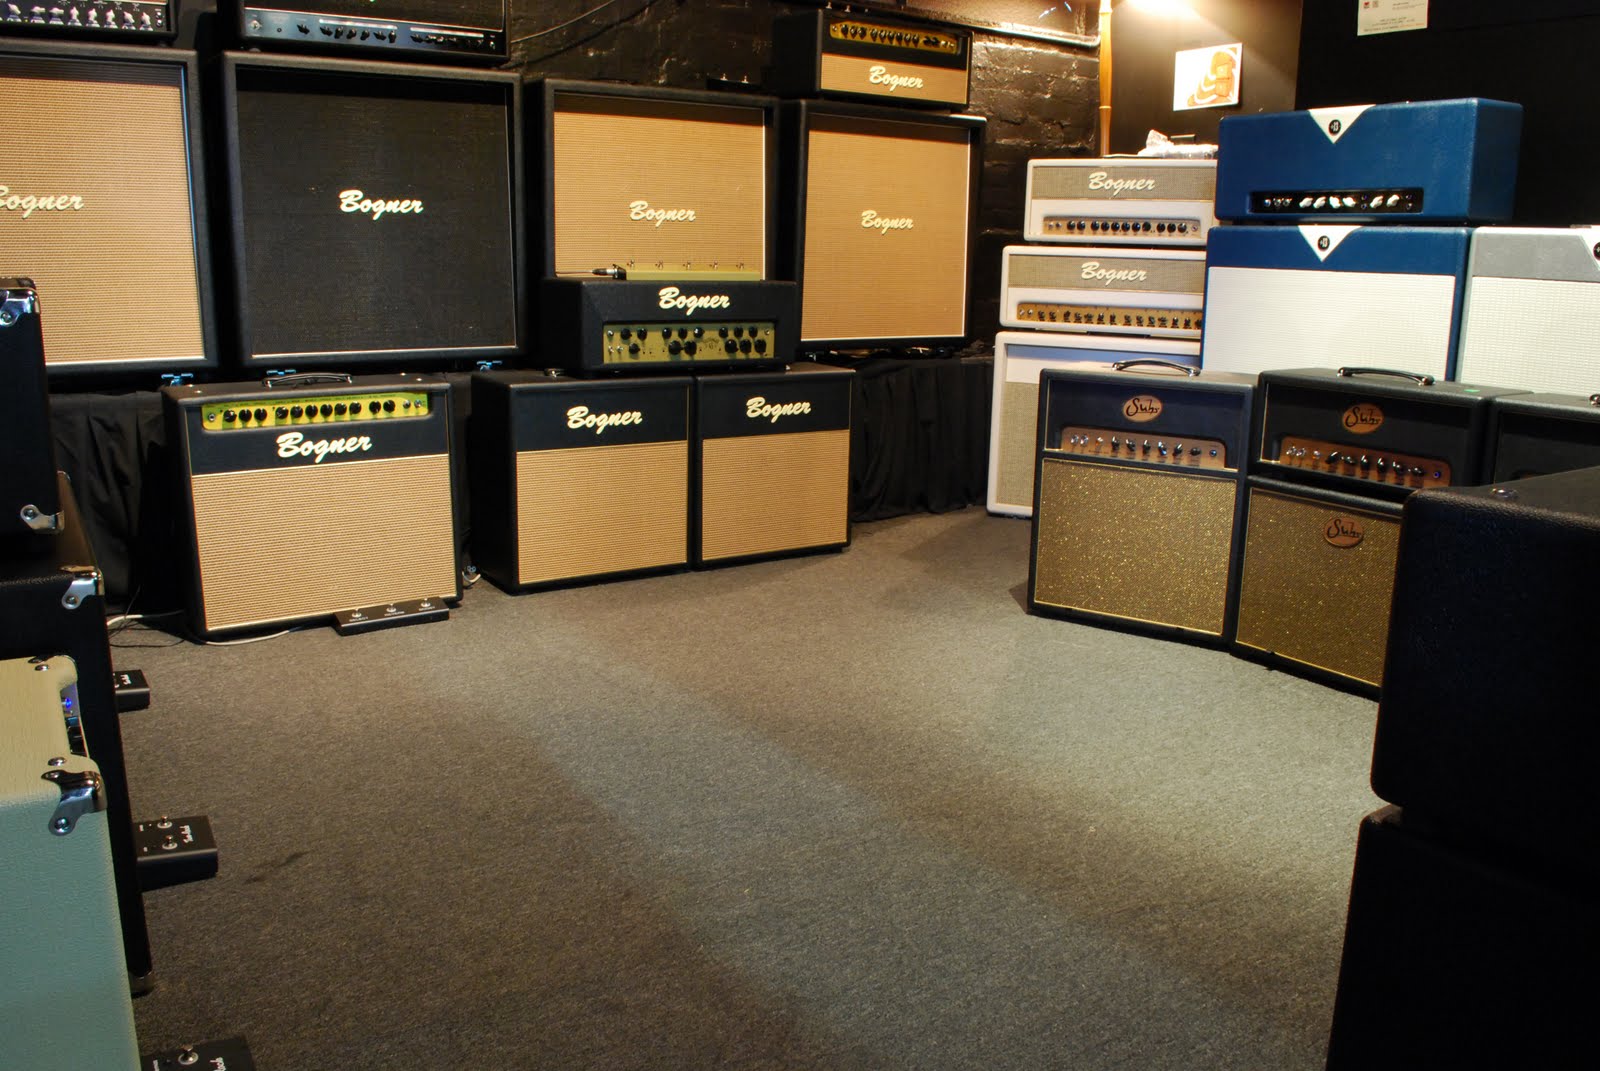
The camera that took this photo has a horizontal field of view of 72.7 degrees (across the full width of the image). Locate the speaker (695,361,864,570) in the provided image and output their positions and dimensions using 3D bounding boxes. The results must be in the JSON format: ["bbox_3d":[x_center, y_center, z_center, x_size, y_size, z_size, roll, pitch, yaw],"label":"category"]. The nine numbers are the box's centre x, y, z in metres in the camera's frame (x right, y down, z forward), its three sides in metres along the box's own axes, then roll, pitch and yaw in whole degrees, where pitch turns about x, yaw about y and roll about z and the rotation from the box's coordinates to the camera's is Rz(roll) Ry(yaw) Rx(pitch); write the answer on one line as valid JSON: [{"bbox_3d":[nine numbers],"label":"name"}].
[{"bbox_3d":[-0.142,-0.321,4.616,0.670,0.639,0.483,-8,39,-24],"label":"speaker"}]

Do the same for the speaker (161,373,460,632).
[{"bbox_3d":[-1.689,-0.120,3.671,0.800,0.776,0.301,-7,21,-23],"label":"speaker"}]

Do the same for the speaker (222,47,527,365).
[{"bbox_3d":[-1.679,-1.250,4.108,1.119,1.018,0.848,-9,26,-33],"label":"speaker"}]

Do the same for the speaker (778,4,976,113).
[{"bbox_3d":[0.350,-2.158,4.941,0.920,0.388,0.318,-8,16,-21],"label":"speaker"}]

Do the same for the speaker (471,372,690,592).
[{"bbox_3d":[-0.929,-0.250,4.367,0.823,0.769,0.589,-9,17,-43],"label":"speaker"}]

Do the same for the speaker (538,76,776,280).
[{"bbox_3d":[-0.603,-1.426,4.349,0.948,0.851,0.359,-2,9,-28],"label":"speaker"}]
